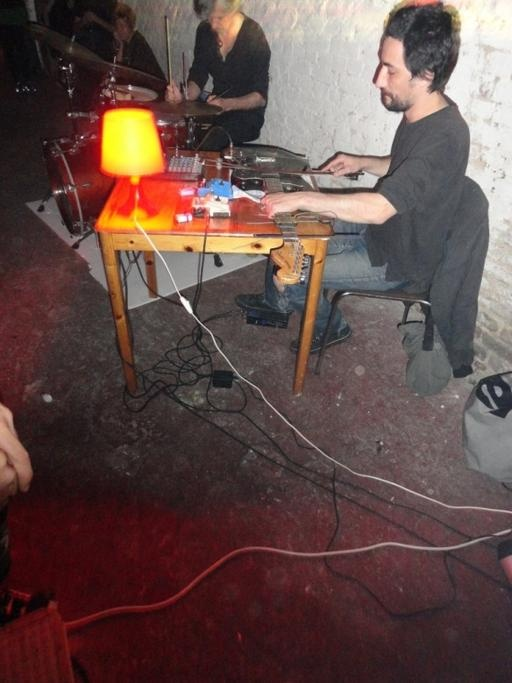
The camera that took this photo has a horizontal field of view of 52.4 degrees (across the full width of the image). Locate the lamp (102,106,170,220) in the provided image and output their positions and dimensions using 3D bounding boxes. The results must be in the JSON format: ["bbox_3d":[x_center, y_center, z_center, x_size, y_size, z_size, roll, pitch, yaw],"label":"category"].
[{"bbox_3d":[-0.407,-0.602,1.741,0.194,0.329,0.302,1,37,-11],"label":"lamp"}]

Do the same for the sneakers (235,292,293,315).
[{"bbox_3d":[0.021,-0.179,2.567,0.322,0.109,0.137,11,5,10],"label":"sneakers"}]

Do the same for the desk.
[{"bbox_3d":[-0.160,-0.254,2.166,0.847,0.807,0.680,5,40,1],"label":"desk"}]

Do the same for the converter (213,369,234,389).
[{"bbox_3d":[-0.148,0.153,2.261,0.073,0.019,0.080,4,56,-4],"label":"converter"}]

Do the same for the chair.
[{"bbox_3d":[0.552,-0.308,2.152,0.717,0.860,0.701,7,27,30],"label":"chair"}]
